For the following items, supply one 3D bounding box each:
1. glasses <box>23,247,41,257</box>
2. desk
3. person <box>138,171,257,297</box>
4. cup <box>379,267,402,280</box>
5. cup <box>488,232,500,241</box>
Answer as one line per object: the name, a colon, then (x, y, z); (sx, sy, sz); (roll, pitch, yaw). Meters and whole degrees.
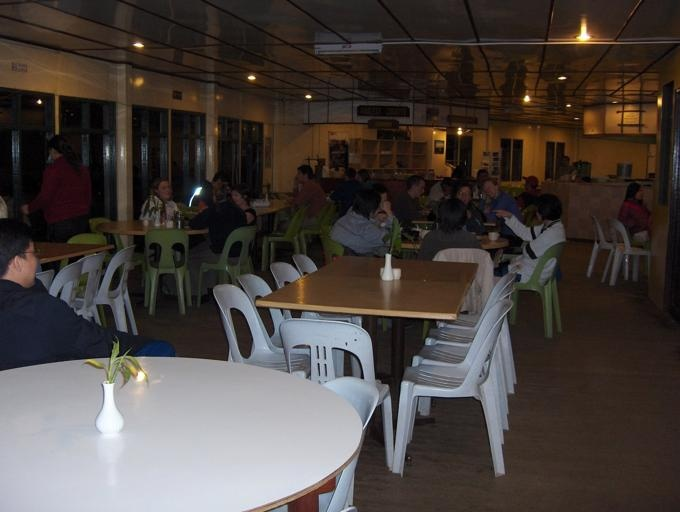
glasses: (-1.574, -0.020, 2.729); (0.095, 0.031, 0.096); (-3, 2, 17)
desk: (5.809, -1.209, 12.261); (1.669, 1.151, 1.762); (3, 7, 24)
person: (-1.907, -0.263, 7.024); (1.202, 0.511, 2.024); (4, 16, 4)
cup: (0.357, 0.125, 3.805); (0.113, 0.063, 0.081); (1, 3, 11)
cup: (1.770, -0.227, 6.162); (0.100, 0.083, 0.081); (1, -1, -18)
